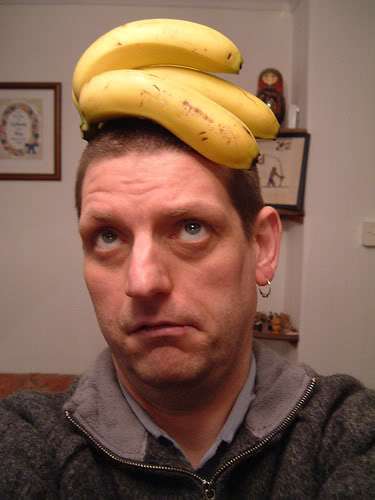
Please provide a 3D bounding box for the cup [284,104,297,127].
[{"bbox_3d":[0.444,-0.574,2.063,0.047,0.141,0.083,-1,-33,6],"label":"cup"}]
